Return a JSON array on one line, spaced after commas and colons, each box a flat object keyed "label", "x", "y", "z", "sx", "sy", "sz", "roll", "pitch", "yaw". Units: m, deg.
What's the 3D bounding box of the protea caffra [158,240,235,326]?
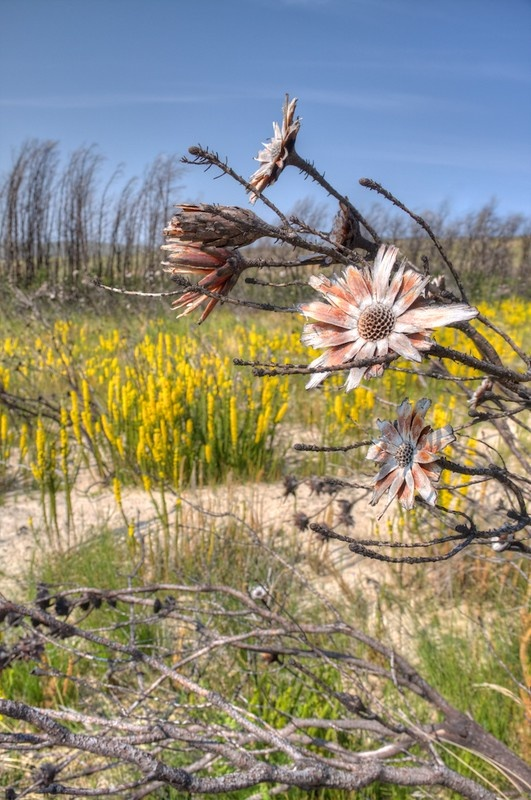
[{"label": "protea caffra", "x": -0.223, "y": -0.348, "z": 3.892, "sx": 0.251, "sy": 0.244, "sz": 0.214, "roll": -5, "pitch": 15, "yaw": -40}]

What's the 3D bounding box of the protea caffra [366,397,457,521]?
[{"label": "protea caffra", "x": 0.441, "y": 0.167, "z": 4.018, "sx": 0.257, "sy": 0.342, "sz": 0.328, "roll": 5, "pitch": 12, "yaw": 2}]

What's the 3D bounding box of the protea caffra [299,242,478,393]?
[{"label": "protea caffra", "x": 0.347, "y": -0.264, "z": 3.828, "sx": 0.491, "sy": 0.360, "sz": 0.181, "roll": 11, "pitch": 13, "yaw": 29}]

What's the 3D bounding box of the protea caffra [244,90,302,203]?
[{"label": "protea caffra", "x": 0.035, "y": -0.758, "z": 3.973, "sx": 0.114, "sy": 0.319, "sz": 0.385, "roll": 29, "pitch": 9, "yaw": -6}]
